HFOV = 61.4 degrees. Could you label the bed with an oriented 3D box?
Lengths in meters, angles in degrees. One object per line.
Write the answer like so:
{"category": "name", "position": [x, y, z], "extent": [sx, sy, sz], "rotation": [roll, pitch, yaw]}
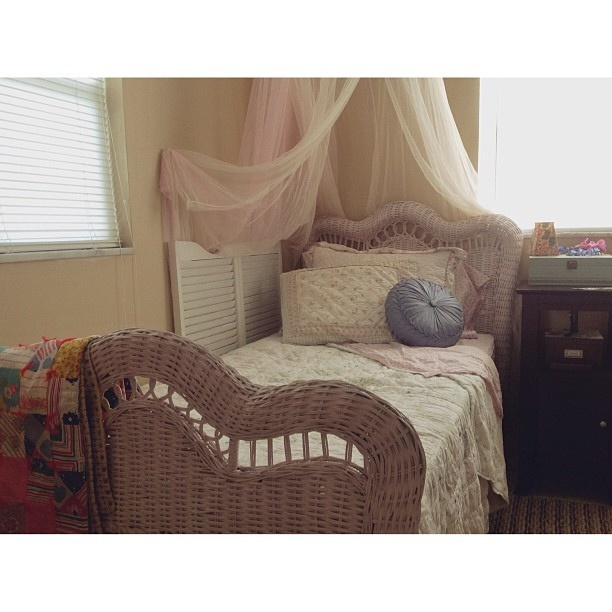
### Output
{"category": "bed", "position": [0.150, 0.169, 2.440], "extent": [1.570, 1.213, 1.804], "rotation": [5, 14, 24]}

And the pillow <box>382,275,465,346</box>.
{"category": "pillow", "position": [0.599, -0.026, 2.490], "extent": [0.307, 0.120, 0.351], "rotation": [11, 51, -15]}
